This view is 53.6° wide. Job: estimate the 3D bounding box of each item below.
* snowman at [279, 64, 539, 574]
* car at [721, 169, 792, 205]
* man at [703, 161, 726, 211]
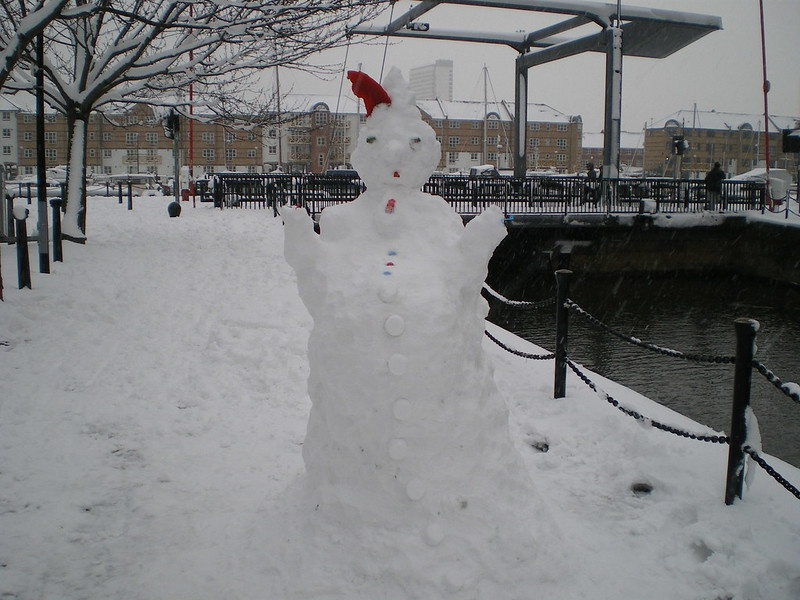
[{"bbox_3d":[0.136,0.115,6.575,1.750,3.939,0.915,1,9,9],"label":"snowman"},{"bbox_3d":[12.466,-3.891,26.848,1.302,1.050,8.973,5,12,24],"label":"car"},{"bbox_3d":[8.882,-3.137,22.293,0.489,1.480,0.422,6,-12,21],"label":"man"}]
